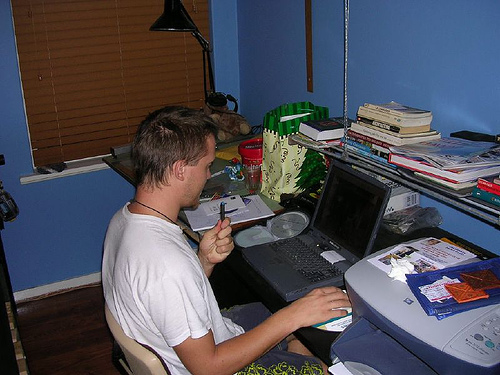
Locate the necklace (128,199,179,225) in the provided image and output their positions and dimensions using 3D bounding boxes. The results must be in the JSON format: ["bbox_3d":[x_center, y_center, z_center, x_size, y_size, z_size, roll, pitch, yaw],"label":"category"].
[{"bbox_3d":[-0.311,0.079,1.205,0.108,0.015,0.036,32,0,-5],"label":"necklace"}]

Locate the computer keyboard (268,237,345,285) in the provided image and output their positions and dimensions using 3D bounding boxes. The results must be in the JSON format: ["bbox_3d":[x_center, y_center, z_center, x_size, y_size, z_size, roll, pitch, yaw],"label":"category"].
[{"bbox_3d":[0.221,0.305,1.567,0.188,0.065,0.383,-9,19,-17],"label":"computer keyboard"}]

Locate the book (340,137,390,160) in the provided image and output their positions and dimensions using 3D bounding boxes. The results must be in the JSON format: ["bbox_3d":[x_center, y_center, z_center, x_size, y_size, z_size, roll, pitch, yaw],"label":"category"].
[{"bbox_3d":[0.475,-0.174,1.587,0.039,0.042,0.273,-44,32,-8],"label":"book"}]

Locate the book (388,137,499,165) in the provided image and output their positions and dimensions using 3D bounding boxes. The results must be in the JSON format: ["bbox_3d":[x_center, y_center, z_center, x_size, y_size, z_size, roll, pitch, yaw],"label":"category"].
[{"bbox_3d":[0.720,-0.138,1.353,0.178,0.031,0.186,-16,23,-26],"label":"book"}]

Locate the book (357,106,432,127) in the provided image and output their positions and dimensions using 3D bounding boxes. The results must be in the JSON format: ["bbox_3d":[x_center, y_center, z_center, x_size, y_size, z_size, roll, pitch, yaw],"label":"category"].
[{"bbox_3d":[0.563,-0.275,1.506,0.283,0.051,0.116,11,27,26],"label":"book"}]

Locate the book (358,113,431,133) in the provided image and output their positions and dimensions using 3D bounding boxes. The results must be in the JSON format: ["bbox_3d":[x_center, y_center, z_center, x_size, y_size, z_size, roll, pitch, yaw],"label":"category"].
[{"bbox_3d":[0.607,-0.248,1.502,0.133,0.029,0.131,-9,22,-29],"label":"book"}]

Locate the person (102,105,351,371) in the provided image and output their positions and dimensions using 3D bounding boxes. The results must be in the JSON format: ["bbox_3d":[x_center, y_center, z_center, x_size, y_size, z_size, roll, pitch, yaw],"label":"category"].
[{"bbox_3d":[-0.188,0.065,1.571,1.029,1.121,0.742,-10,22,-24],"label":"person"}]

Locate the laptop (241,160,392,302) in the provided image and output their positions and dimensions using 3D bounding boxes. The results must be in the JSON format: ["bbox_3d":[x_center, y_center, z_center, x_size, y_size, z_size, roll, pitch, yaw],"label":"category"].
[{"bbox_3d":[0.259,0.145,1.527,0.560,0.342,0.501,-20,22,-36],"label":"laptop"}]

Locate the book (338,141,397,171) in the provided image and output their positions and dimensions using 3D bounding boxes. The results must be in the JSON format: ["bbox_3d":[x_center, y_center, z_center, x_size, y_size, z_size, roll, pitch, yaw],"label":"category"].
[{"bbox_3d":[0.488,-0.131,1.571,0.131,0.029,0.138,30,11,36],"label":"book"}]

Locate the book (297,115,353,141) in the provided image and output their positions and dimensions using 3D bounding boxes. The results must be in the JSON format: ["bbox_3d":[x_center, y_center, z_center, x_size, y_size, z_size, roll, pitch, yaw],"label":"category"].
[{"bbox_3d":[0.377,-0.283,1.795,0.150,0.035,0.149,-13,21,-21],"label":"book"}]

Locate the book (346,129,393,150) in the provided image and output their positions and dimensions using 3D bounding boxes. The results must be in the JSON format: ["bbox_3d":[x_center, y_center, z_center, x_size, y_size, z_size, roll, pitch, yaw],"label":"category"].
[{"bbox_3d":[0.499,-0.198,1.548,0.022,0.041,0.267,-16,32,-27],"label":"book"}]
